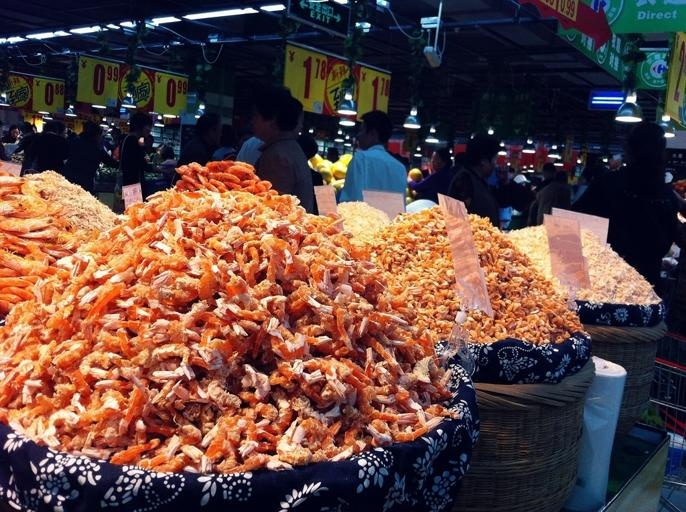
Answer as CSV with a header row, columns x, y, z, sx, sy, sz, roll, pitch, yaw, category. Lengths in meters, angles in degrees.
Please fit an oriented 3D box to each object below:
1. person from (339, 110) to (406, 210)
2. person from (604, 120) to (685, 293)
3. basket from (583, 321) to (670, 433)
x,y,z,sx,sy,sz,roll,pitch,yaw,category
0.209,-0.672,4.072,0.512,0.794,0.382,9,1,-40,person
1.944,-0.324,3.550,0.435,1.062,0.317,8,10,24,person
1.205,0.495,2.571,0.453,0.426,0.444,-8,12,-40,basket
